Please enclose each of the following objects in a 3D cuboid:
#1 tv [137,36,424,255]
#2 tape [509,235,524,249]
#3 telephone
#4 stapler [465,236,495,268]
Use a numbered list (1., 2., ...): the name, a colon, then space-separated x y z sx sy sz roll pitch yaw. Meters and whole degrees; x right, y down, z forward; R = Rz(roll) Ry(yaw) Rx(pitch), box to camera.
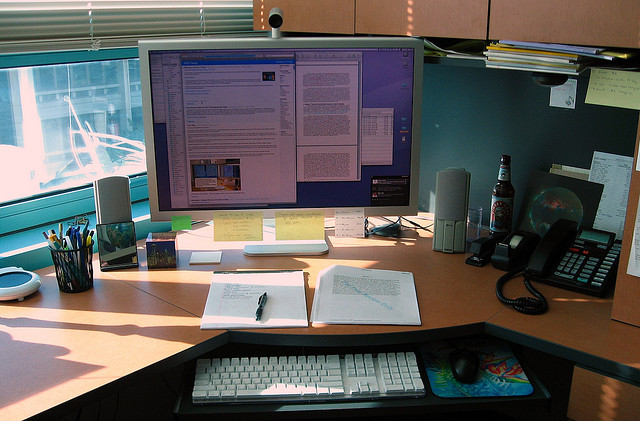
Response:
1. tv: -0.105 -0.215 1.634 0.953 0.654 0.244 -1 12 3
2. tape: 0.643 0.103 1.579 0.023 0.025 0.045 17 44 36
3. telephone: 0.826 0.131 1.527 0.234 0.085 0.279 8 41 42
4. stapler: 0.543 0.137 1.614 0.051 0.071 0.157 8 30 43
